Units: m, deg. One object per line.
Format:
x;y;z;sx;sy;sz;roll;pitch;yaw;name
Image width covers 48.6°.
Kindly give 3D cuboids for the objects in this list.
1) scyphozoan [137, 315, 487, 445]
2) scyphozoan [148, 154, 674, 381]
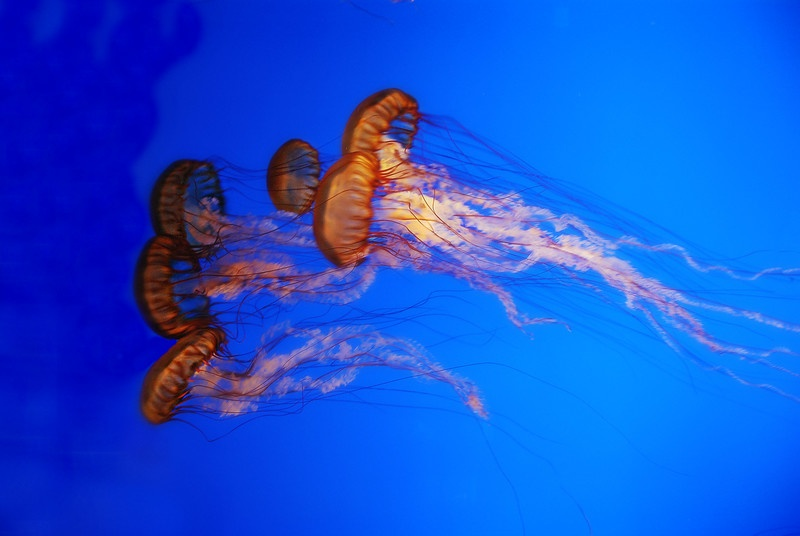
-0.469;0.474;3.765;1.697;0.472;0.330;5;-93;-3;scyphozoan
0.029;0.005;3.831;2.118;0.914;0.493;1;-96;-2;scyphozoan
